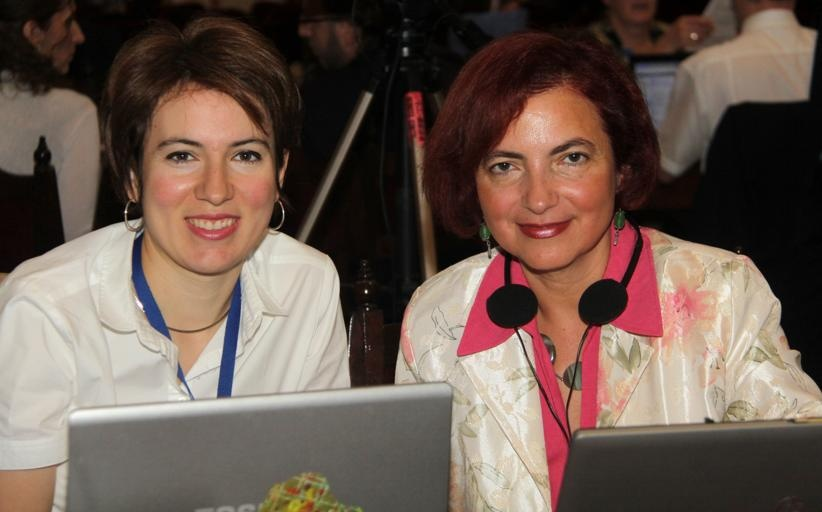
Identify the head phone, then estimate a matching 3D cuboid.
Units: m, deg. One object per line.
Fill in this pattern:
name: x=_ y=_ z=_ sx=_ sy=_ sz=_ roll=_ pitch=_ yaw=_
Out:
head phone: x=0.502 y=0.064 z=3.034 sx=0.417 sy=0.137 sz=0.491 roll=12 pitch=-33 yaw=1
